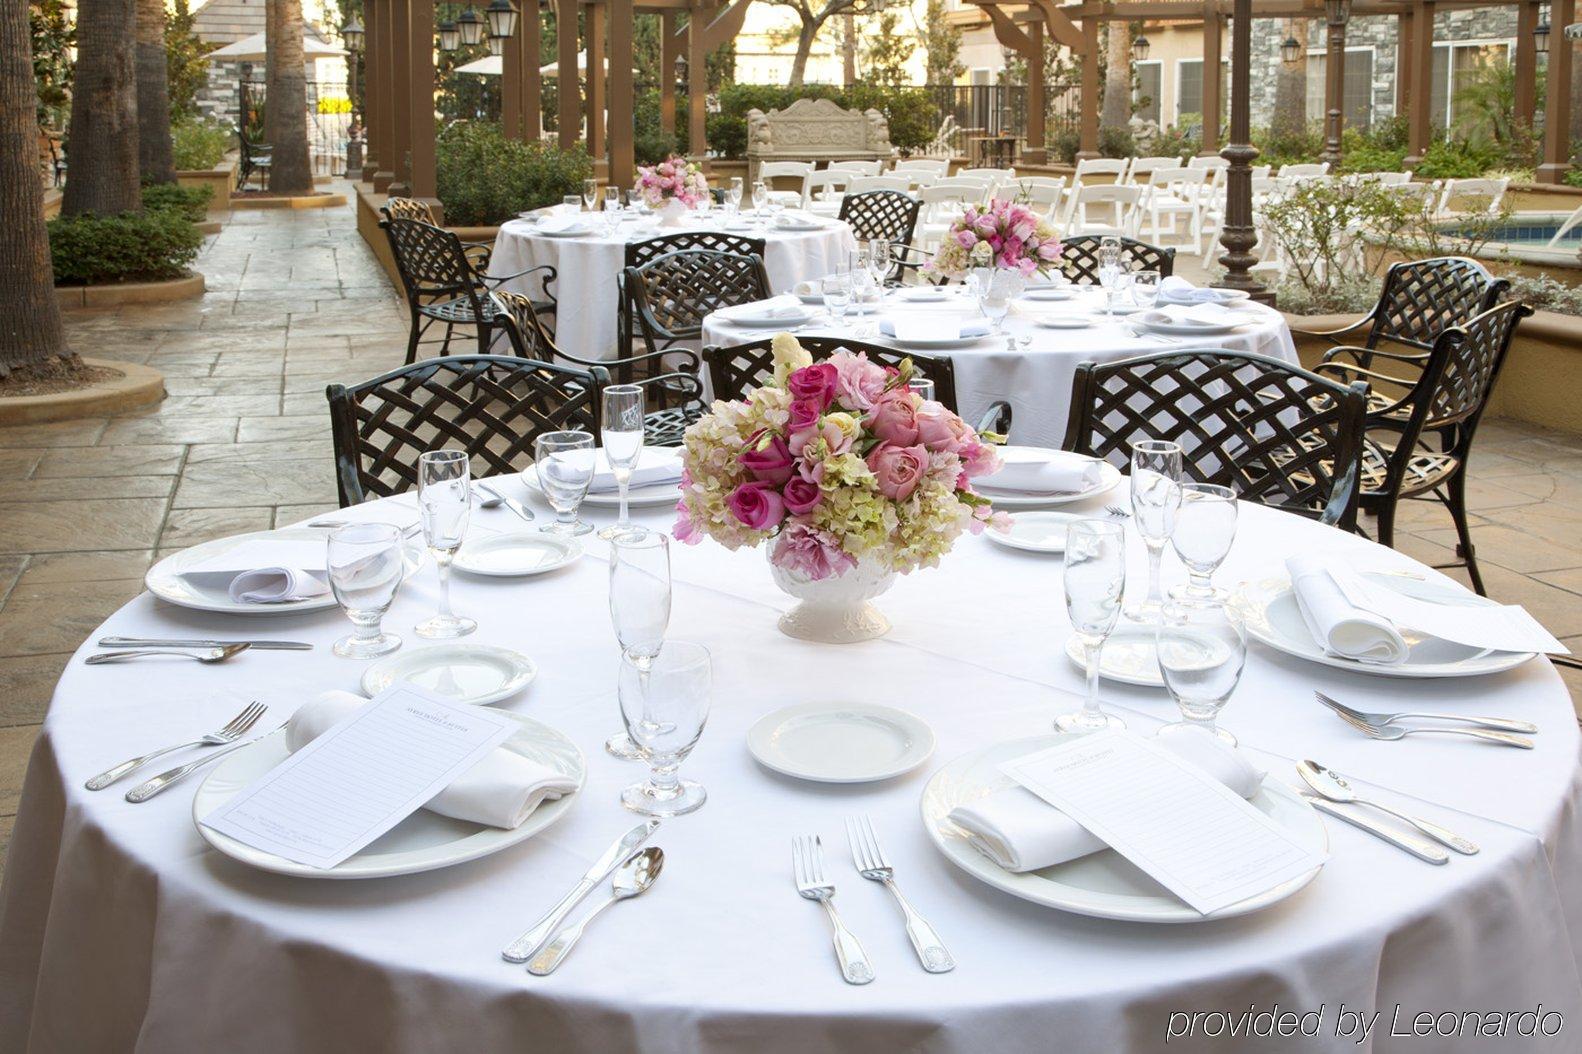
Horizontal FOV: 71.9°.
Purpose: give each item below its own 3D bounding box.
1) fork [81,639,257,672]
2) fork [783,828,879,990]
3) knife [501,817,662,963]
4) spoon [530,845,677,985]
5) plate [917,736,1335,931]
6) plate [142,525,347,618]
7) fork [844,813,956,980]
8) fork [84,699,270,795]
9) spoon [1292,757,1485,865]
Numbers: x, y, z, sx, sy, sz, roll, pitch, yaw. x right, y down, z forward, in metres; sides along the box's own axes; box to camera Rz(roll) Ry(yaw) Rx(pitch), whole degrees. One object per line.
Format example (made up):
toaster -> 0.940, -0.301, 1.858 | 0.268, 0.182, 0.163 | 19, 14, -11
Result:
fork -> -1.034, 0.212, 1.806 | 0.222, 0.036, 0.032 | -2, 5, -9
fork -> 0.049, 0.436, 1.262 | 0.039, 0.032, 0.229 | 4, 27, -18
knife -> -0.231, 0.407, 1.344 | 0.051, 0.017, 0.407 | 16, 17, 16
spoon -> -0.218, 0.437, 1.273 | 0.051, 0.040, 0.263 | 14, 21, 15
plate -> 0.373, 0.376, 1.276 | 0.265, 0.030, 0.269 | -2, 21, -6
plate -> -0.992, 0.081, 2.030 | 0.235, 0.035, 0.228 | 14, 20, 27
fork -> 0.121, 0.429, 1.290 | 0.043, 0.040, 0.280 | -2, 25, -15
fork -> -0.874, 0.315, 1.546 | 0.033, 0.039, 0.248 | 8, 16, 26
spoon -> 0.766, 0.364, 1.428 | 0.063, 0.041, 0.266 | -5, 16, -22
